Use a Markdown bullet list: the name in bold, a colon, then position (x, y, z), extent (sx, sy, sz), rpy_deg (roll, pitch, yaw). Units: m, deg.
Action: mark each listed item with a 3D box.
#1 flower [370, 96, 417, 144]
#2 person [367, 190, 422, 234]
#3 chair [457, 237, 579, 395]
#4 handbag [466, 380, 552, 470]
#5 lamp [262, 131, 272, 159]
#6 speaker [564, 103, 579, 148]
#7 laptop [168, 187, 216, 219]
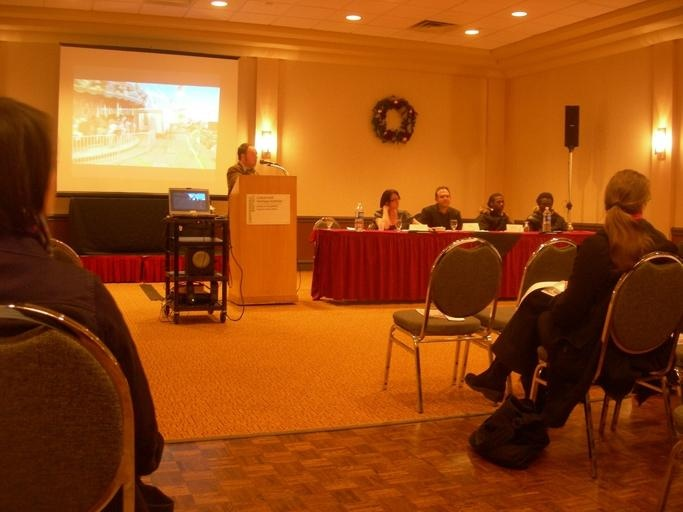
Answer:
- **flower**: position (0.988, -2.597, 10.584), extent (0.867, 0.871, 0.195), rpy_deg (-1, 6, -22)
- **person**: position (0.688, -0.475, 7.566), extent (0.577, 0.818, 0.534), rpy_deg (-5, 2, -13)
- **chair**: position (1.366, 0.242, 3.986), extent (0.643, 1.259, 0.738), rpy_deg (-3, 7, -30)
- **handbag**: position (0.860, 0.835, 2.741), extent (0.249, 0.158, 0.348), rpy_deg (15, 28, 36)
- **lamp**: position (-1.310, -1.953, 9.759), extent (0.176, 0.496, 0.120), rpy_deg (-1, 6, -16)
- **speaker**: position (3.789, -2.125, 9.192), extent (0.205, 0.747, 0.180), rpy_deg (2, 5, 10)
- **laptop**: position (-1.506, -0.543, 5.599), extent (0.424, 0.281, 0.341), rpy_deg (-1, 5, -17)
